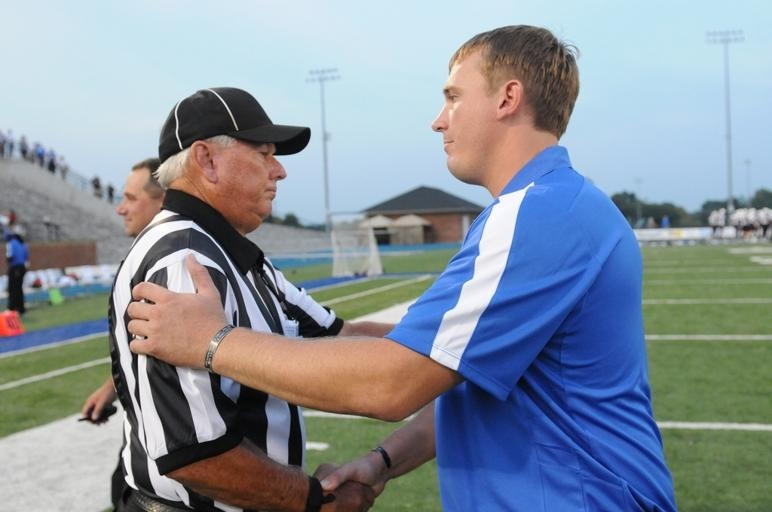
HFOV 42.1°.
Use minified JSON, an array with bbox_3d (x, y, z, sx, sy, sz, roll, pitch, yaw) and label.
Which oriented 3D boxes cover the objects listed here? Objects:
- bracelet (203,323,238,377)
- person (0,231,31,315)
[{"bbox_3d":[-0.871,0.498,5.355,0.052,0.202,0.200,18,25,-15],"label":"bracelet"},{"bbox_3d":[-6.187,0.374,16.822,0.332,1.474,0.939,-3,1,-21],"label":"person"}]
